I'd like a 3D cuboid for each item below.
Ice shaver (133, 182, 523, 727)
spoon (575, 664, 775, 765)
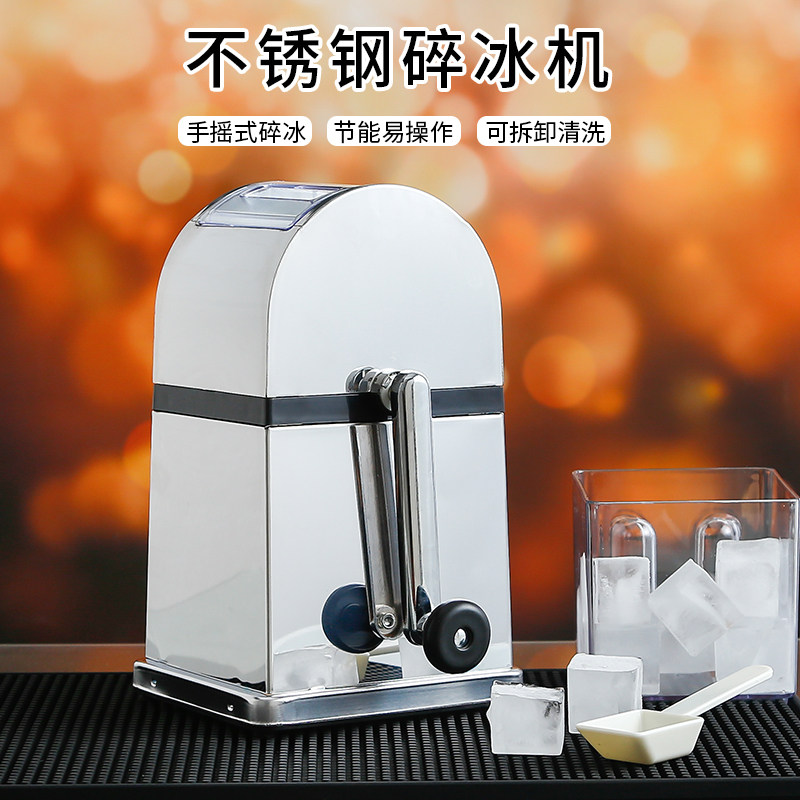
[{"bbox_3d":[-0.069,0.037,0.791,0.269,0.419,0.309,-3,5,-44],"label":"Ice shaver"},{"bbox_3d":[0.185,0.205,0.660,0.151,0.045,0.055,2,-2,-43],"label":"spoon"}]
